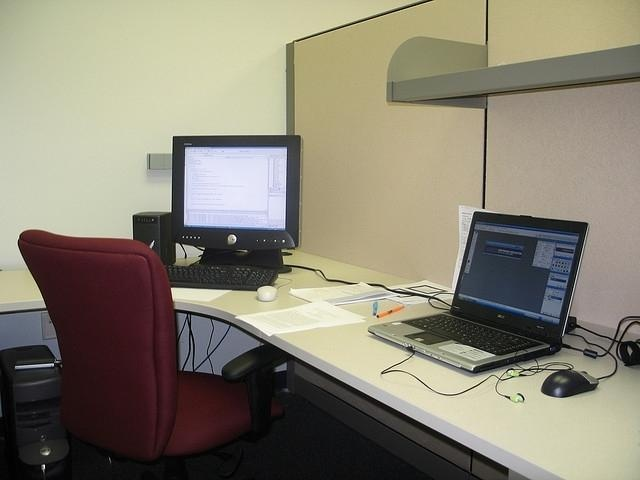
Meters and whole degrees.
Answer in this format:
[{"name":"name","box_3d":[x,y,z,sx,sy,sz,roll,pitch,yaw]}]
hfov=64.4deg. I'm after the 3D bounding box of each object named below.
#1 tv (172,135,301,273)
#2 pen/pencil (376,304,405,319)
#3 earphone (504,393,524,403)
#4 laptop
[{"name":"tv","box_3d":[-0.360,-0.179,2.200,0.581,0.587,0.321,1,2,7]},{"name":"pen/pencil","box_3d":[0.241,0.243,1.735,0.018,0.019,0.174,-2,5,38]},{"name":"earphone","box_3d":[0.468,0.373,1.212,0.051,0.011,0.030,1,11,-6]},{"name":"laptop","box_3d":[0.448,0.045,1.492,0.500,0.371,0.472,-9,12,-29]}]
